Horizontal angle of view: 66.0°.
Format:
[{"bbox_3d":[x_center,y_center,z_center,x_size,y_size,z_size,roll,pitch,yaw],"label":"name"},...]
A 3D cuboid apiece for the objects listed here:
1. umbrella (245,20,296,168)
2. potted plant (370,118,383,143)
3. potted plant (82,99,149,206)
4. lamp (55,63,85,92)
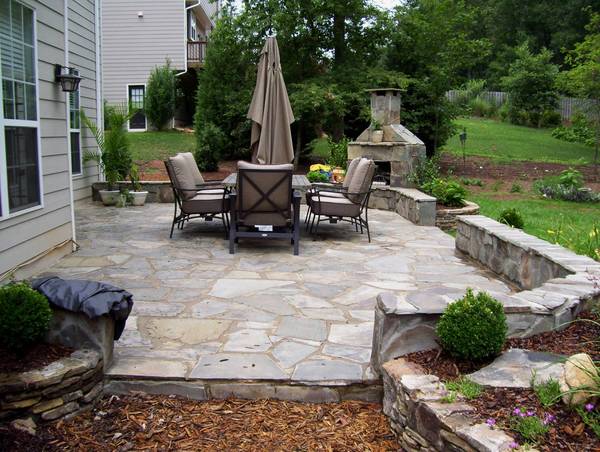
[{"bbox_3d":[-0.440,-1.891,6.939,0.678,1.870,0.636,-1,13,-12],"label":"umbrella"},{"bbox_3d":[1.830,-2.289,11.063,0.197,0.513,0.354,-7,15,-35],"label":"potted plant"},{"bbox_3d":[-4.187,-1.612,10.203,1.124,2.068,1.400,-3,13,-18],"label":"potted plant"},{"bbox_3d":[-2.965,-1.863,5.872,0.389,0.458,0.271,1,12,-9],"label":"lamp"}]
